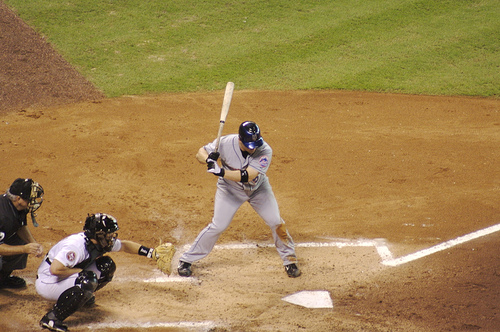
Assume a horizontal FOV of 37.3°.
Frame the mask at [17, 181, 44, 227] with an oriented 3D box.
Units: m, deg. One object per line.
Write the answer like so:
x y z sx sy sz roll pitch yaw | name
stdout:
-4.617 0.794 16.003 0.449 0.895 0.670 7 16 2 | mask

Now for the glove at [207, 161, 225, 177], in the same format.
-0.722 0.068 15.925 0.328 0.122 0.308 25 45 -8 | glove

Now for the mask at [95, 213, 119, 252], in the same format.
-3.047 1.394 15.680 0.501 0.825 0.352 -13 34 -14 | mask
